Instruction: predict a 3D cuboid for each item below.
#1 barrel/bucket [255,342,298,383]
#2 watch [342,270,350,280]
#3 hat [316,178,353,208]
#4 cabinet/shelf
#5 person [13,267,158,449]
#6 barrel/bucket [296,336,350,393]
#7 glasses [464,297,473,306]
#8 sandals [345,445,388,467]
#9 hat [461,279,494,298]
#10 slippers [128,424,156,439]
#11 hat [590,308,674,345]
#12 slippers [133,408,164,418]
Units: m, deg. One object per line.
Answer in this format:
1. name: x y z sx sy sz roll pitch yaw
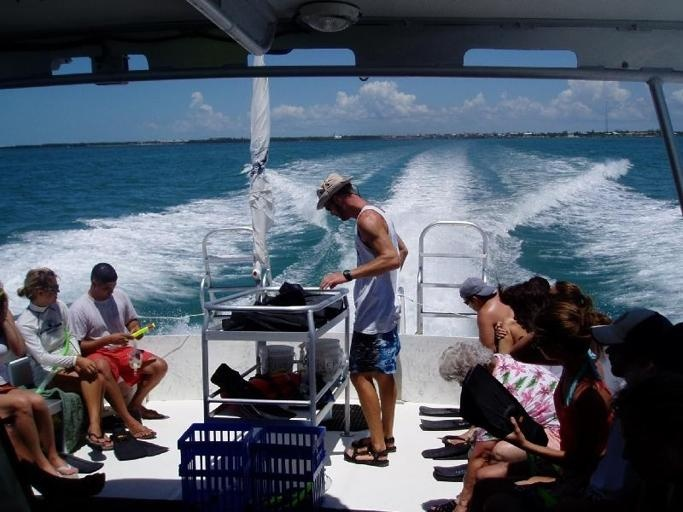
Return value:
1. barrel/bucket: -0.590 0.968 4.444 0.325 0.235 0.343 0 -3 0
2. watch: 0.047 0.147 3.775 0.068 0.078 0.095 -1 -2 -12
3. hat: -0.059 -0.560 4.118 0.279 0.319 0.280 -1 -2 -1
4. cabinet/shelf: -0.502 0.979 4.100 1.159 1.449 1.230 -1 -2 -1
5. person: -2.328 0.940 4.449 1.458 1.372 0.614 12 15 15
6. barrel/bucket: -0.193 0.941 4.341 0.414 0.399 0.447 -1 1 0
7. glasses: 1.170 0.415 4.503 0.080 0.064 0.058 -12 1 5
8. sandals: 0.209 1.697 4.198 0.311 0.098 0.162 3 -6 11
9. hat: 1.240 0.287 4.425 0.279 0.102 0.167 -2 -8 -21
10. slippers: -1.918 1.702 4.724 0.296 0.079 0.108 10 22 -14
11. hat: 1.576 0.373 2.642 0.287 0.159 0.420 -13 0 -37
12. slippers: -2.026 1.659 5.164 0.304 0.068 0.102 5 8 -8
